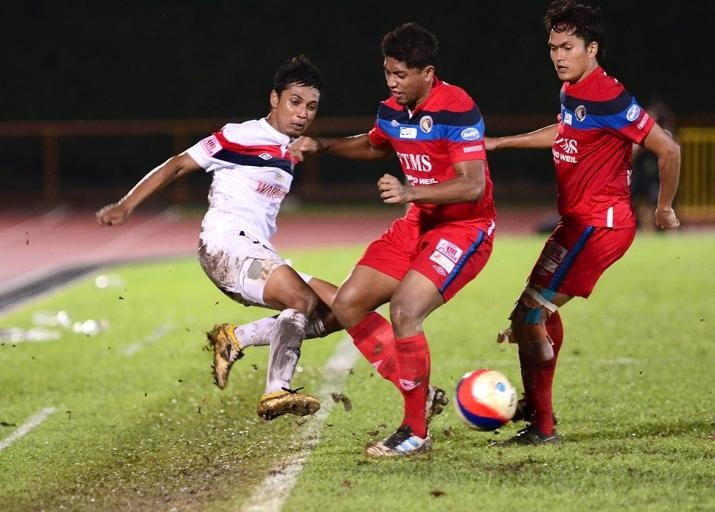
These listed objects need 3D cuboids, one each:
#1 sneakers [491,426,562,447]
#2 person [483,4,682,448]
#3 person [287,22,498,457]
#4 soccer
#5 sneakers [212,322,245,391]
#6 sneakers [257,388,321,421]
[{"bbox_3d":[1.085,1.176,5.358,0.484,0.149,0.155,0,-16,4],"label":"sneakers"},{"bbox_3d":[1.435,-0.253,5.416,1.227,2.806,0.585,-5,10,-19],"label":"person"},{"bbox_3d":[0.313,-0.139,5.287,1.032,2.643,1.036,4,11,28],"label":"person"},{"bbox_3d":[0.795,0.895,5.173,0.432,0.366,0.366,-4,0,27],"label":"soccer"},{"bbox_3d":[-0.910,0.653,5.573,0.234,0.464,0.186,13,39,4],"label":"sneakers"},{"bbox_3d":[-0.420,0.867,4.969,0.344,0.184,0.181,-3,45,-10],"label":"sneakers"}]
